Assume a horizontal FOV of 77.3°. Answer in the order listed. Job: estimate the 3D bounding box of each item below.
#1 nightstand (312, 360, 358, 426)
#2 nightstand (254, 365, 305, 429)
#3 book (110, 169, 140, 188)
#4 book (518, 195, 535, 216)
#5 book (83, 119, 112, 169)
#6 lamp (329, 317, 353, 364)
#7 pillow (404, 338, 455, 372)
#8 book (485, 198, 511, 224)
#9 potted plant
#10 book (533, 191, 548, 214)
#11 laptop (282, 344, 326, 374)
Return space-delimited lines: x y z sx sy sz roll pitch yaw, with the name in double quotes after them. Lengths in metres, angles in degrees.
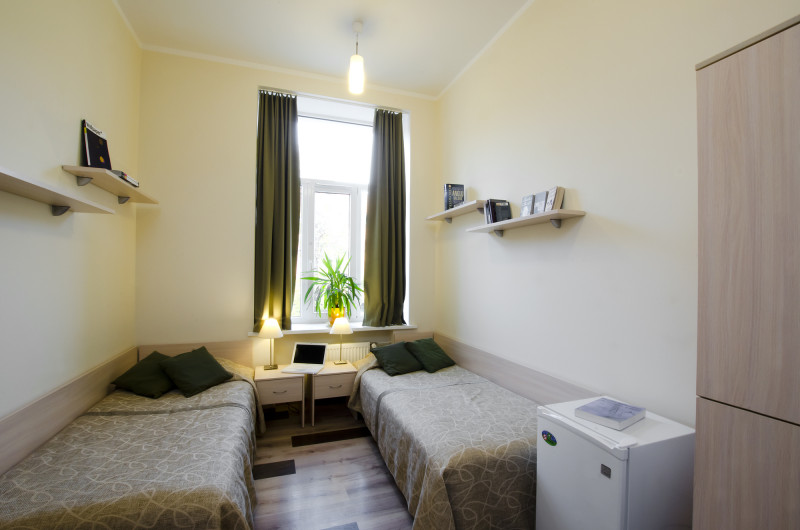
-0.642 1.176 4.790 0.549 0.511 0.466 1 1 -24 "nightstand"
-1.133 1.217 4.724 0.481 0.489 0.506 1 -1 -22 "nightstand"
-2.140 -0.668 3.912 0.126 0.113 0.362 -1 7 -21 "book"
1.002 -0.477 3.940 0.073 0.203 0.215 3 1 -12 "book"
-2.328 -0.925 3.835 0.122 0.352 0.378 0 7 -12 "book"
-0.596 0.740 5.001 0.197 0.463 0.352 0 7 -8 "lamp"
0.329 0.881 4.889 0.301 0.079 0.323 4 23 -41 "pillow"
0.835 -0.452 4.193 0.220 0.203 0.215 1 6 -2 "book"
-0.699 0.214 5.211 0.704 0.680 0.698 0 4 -18 "potted plant"
1.066 -0.482 3.821 0.043 0.167 0.173 10 -5 -30 "book"
-0.881 0.892 4.807 0.280 0.166 0.270 0 -2 2 "laptop"
